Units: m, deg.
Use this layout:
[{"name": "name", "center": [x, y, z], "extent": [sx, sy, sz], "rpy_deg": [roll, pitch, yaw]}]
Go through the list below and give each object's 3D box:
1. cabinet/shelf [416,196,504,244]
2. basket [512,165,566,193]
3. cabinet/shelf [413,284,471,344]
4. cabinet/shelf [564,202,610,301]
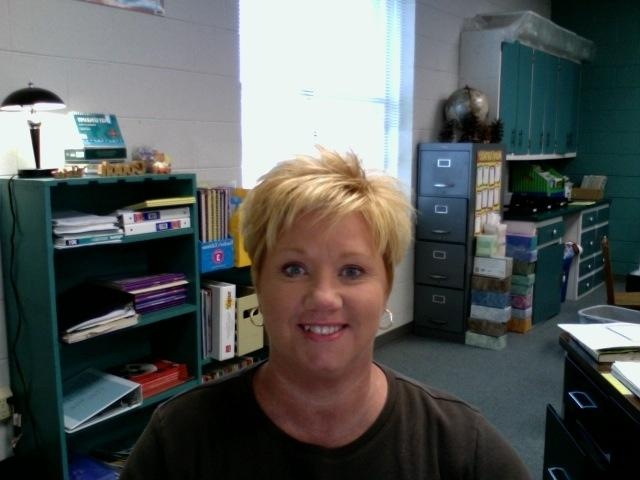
[{"name": "cabinet/shelf", "center": [1.198, -0.210, 4.649], "extent": [0.578, 0.442, 0.600], "rpy_deg": [3, 4, 24]}, {"name": "basket", "center": [2.547, -0.704, 5.807], "extent": [0.375, 0.312, 0.529], "rpy_deg": [2, 4, 43]}, {"name": "cabinet/shelf", "center": [1.139, 0.681, 4.658], "extent": [0.463, 0.464, 0.486], "rpy_deg": [2, 3, 28]}, {"name": "cabinet/shelf", "center": [2.968, 0.133, 5.557], "extent": [0.418, 1.002, 1.097], "rpy_deg": [1, 6, 32]}]
